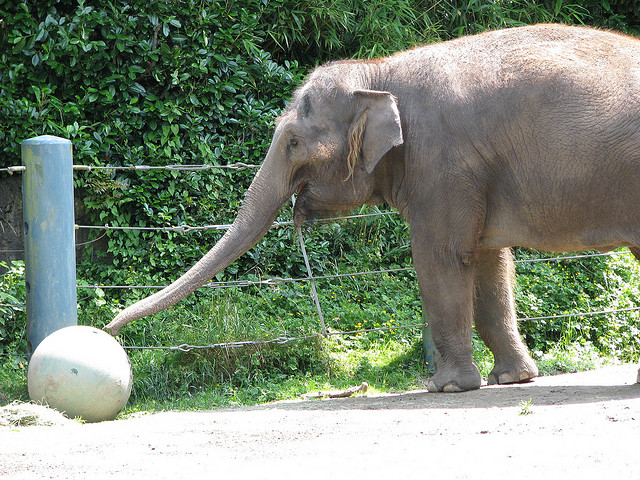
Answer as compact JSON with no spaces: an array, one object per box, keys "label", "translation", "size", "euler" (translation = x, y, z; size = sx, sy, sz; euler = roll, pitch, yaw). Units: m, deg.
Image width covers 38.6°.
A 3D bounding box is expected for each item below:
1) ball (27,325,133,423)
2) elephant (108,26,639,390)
[{"label":"ball","translation":[-1.528,0.857,5.841],"size":[0.682,0.688,0.691],"euler":[-3,-1,0]},{"label":"elephant","translation":[0.073,-0.309,7.087],"size":[4.303,2.437,1.781],"euler":[-1,-2,9]}]
